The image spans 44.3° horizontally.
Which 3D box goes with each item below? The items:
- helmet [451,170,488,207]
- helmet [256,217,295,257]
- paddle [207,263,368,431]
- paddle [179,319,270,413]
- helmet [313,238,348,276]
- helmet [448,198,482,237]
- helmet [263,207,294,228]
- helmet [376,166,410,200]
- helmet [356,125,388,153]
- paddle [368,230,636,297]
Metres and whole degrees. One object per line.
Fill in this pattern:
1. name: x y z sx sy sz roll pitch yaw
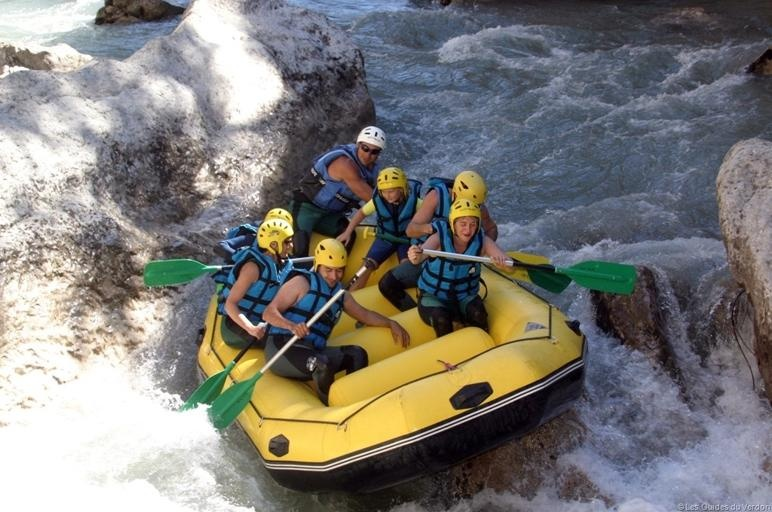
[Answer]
1. helmet: 0.931 -0.720 10.338 0.308 0.367 0.386 -1 54 -6
2. helmet: -1.164 -0.230 10.053 0.393 0.413 0.325 -6 23 -4
3. paddle: -1.037 1.001 9.920 2.372 0.092 0.424 -42 69 -9
4. paddle: -1.703 1.214 10.179 1.243 0.063 0.268 -44 80 -6
5. helmet: -0.594 -0.014 9.971 0.270 0.301 0.348 -6 49 -24
6. helmet: 0.800 -0.394 9.876 0.264 0.308 0.335 2 39 -4
7. helmet: -1.160 -0.442 10.238 0.280 0.259 0.205 -23 77 5
8. helmet: 0.067 -0.823 10.617 0.269 0.359 0.303 1 22 10
9. helmet: -0.175 -1.351 11.006 0.252 0.252 0.345 15 3 -14
10. paddle: 1.245 0.116 10.591 2.260 0.389 0.366 10 16 6
